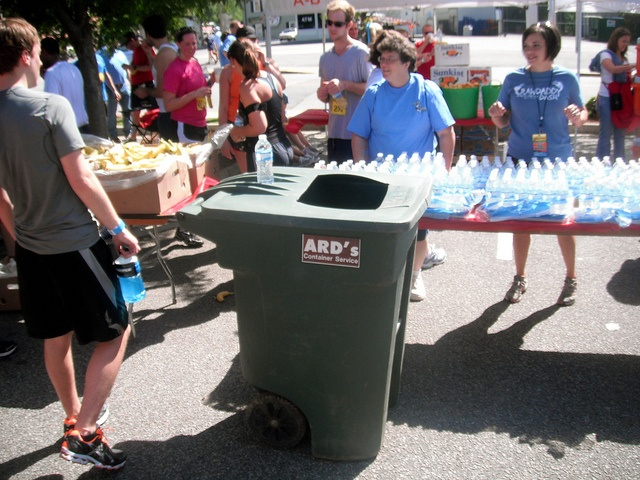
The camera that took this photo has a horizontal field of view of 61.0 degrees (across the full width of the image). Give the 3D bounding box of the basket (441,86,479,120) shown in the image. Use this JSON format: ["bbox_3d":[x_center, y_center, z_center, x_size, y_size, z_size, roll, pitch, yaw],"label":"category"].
[{"bbox_3d":[1.953,-1.891,7.397,0.472,0.412,0.496,-16,21,-23],"label":"basket"}]

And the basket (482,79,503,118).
[{"bbox_3d":[2.344,-1.919,7.272,0.324,0.518,0.316,-26,27,-32],"label":"basket"}]

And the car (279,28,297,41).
[{"bbox_3d":[-2.594,-17.561,45.972,0.870,0.731,1.514,6,34,14],"label":"car"}]

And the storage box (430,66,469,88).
[{"bbox_3d":[1.821,-2.306,7.618,0.582,0.425,0.331,4,16,20],"label":"storage box"}]

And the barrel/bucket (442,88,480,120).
[{"bbox_3d":[1.859,-1.879,7.399,0.518,0.440,0.510,-4,19,1],"label":"barrel/bucket"}]

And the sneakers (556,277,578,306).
[{"bbox_3d":[2.129,0.455,4.676,0.101,0.130,0.294,9,50,33],"label":"sneakers"}]

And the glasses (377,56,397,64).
[{"bbox_3d":[0.530,-1.430,4.290,0.076,0.063,0.199,-16,25,-30],"label":"glasses"}]

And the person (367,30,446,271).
[{"bbox_3d":[0.681,-0.585,4.729,0.856,2.329,0.773,4,34,16],"label":"person"}]

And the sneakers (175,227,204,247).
[{"bbox_3d":[-1.254,-0.023,5.202,0.229,0.111,0.099,27,38,2],"label":"sneakers"}]

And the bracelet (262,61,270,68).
[{"bbox_3d":[-0.718,-2.316,7.127,0.130,0.074,0.191,-6,23,-19],"label":"bracelet"}]

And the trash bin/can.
[{"bbox_3d":[-0.051,0.159,3.840,1.809,2.119,1.206,5,23,10],"label":"trash bin/can"}]

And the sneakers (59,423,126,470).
[{"bbox_3d":[-1.348,1.261,3.282,0.148,0.221,0.412,-2,-23,45],"label":"sneakers"}]

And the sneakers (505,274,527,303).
[{"bbox_3d":[1.728,0.437,4.790,0.108,0.148,0.315,20,56,27],"label":"sneakers"}]

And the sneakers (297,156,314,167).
[{"bbox_3d":[-0.249,-1.237,8.583,0.197,0.176,0.496,4,-2,-18],"label":"sneakers"}]

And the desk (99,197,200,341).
[{"bbox_3d":[-1.523,0.166,4.793,0.711,0.760,0.747,-10,6,-9],"label":"desk"}]

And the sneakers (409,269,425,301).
[{"bbox_3d":[0.847,0.389,4.964,0.149,0.200,0.463,-2,16,4],"label":"sneakers"}]

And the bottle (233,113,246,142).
[{"bbox_3d":[-0.786,-1.091,5.244,0.145,0.227,0.066,8,13,39],"label":"bottle"}]

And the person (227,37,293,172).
[{"bbox_3d":[-0.557,-1.276,5.231,0.602,1.233,0.659,-13,23,-25],"label":"person"}]

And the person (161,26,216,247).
[{"bbox_3d":[-1.502,-1.487,6.632,0.655,2.235,0.715,18,47,10],"label":"person"}]

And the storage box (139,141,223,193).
[{"bbox_3d":[-1.381,-0.731,5.306,0.581,0.413,0.617,2,21,6],"label":"storage box"}]

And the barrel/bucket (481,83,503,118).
[{"bbox_3d":[2.321,-1.883,7.293,0.291,0.493,0.358,-7,13,4],"label":"barrel/bucket"}]

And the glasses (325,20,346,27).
[{"bbox_3d":[0.131,-2.368,5.906,0.154,0.090,0.324,-14,24,-26],"label":"glasses"}]

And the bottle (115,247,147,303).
[{"bbox_3d":[-1.176,0.252,3.375,0.138,0.251,0.147,-5,18,2],"label":"bottle"}]

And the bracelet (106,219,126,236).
[{"bbox_3d":[-1.189,-0.056,3.201,0.096,0.039,0.097,-47,45,-11],"label":"bracelet"}]
